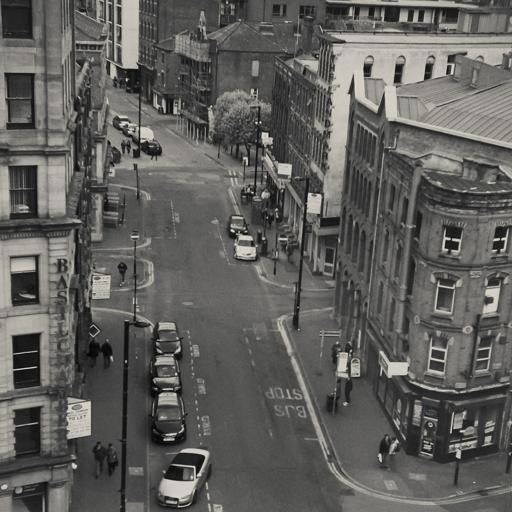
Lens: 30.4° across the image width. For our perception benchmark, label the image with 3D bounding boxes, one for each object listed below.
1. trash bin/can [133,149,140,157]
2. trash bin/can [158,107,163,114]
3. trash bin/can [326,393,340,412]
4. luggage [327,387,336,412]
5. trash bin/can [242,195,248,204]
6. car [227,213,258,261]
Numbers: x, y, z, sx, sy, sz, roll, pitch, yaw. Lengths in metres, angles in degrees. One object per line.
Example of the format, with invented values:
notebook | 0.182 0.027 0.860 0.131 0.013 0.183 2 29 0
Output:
trash bin/can | -15.267 -13.166 120.411 0.777 1.098 0.843 -9 20 -25
trash bin/can | -15.468 -23.955 154.701 0.799 1.392 1.210 -1 0 -17
trash bin/can | 4.586 8.711 56.414 0.759 1.336 0.651 2 14 0
luggage | 4.519 8.562 56.390 0.610 1.416 0.590 3 11 8
trash bin/can | -1.291 -6.038 100.778 0.582 0.960 0.622 0 3 32
car | -1.278 -1.598 86.844 2.112 2.131 8.801 1 13 -6
